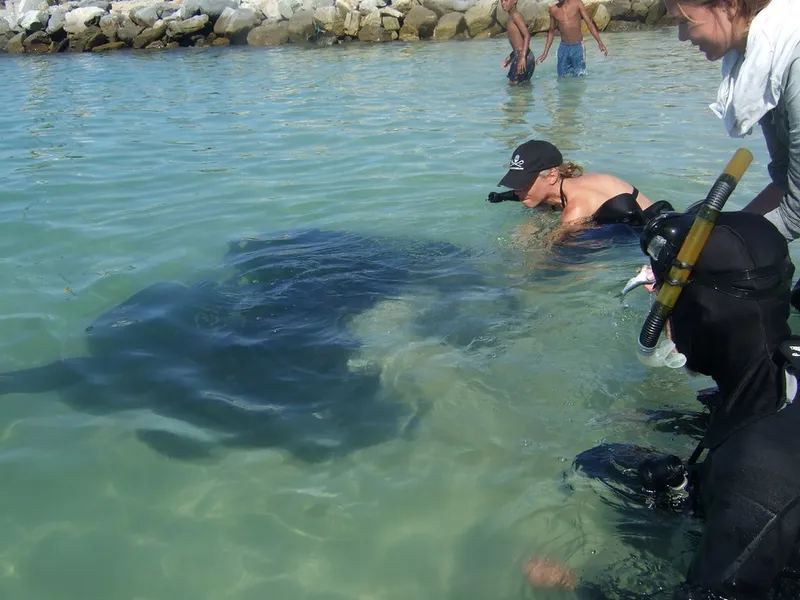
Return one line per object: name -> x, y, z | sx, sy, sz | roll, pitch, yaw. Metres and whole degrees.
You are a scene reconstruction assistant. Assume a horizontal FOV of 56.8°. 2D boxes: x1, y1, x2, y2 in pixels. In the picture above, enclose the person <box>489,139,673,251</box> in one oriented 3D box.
person -> 1.754, -1.039, 7.340 | 1.885, 0.600, 1.054 | 4, 38, 27
